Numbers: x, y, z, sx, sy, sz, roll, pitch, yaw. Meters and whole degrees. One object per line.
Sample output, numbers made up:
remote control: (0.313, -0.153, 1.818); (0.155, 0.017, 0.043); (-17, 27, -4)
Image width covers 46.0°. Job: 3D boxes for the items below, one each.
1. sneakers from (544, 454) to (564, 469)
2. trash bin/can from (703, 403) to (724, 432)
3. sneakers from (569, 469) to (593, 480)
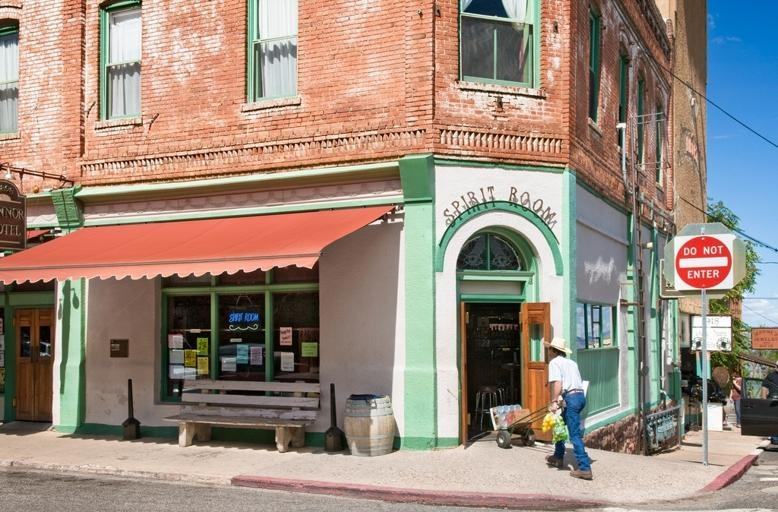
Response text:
sneakers: (3.569, 4.434, 20.000); (0.170, 0.232, 0.479); (-5, 9, -33)
trash bin/can: (11.675, 5.679, 32.886); (0.450, 0.908, 0.711); (2, 11, 15)
sneakers: (4.037, 4.542, 19.386); (0.477, 0.245, 0.195); (7, 3, 32)
